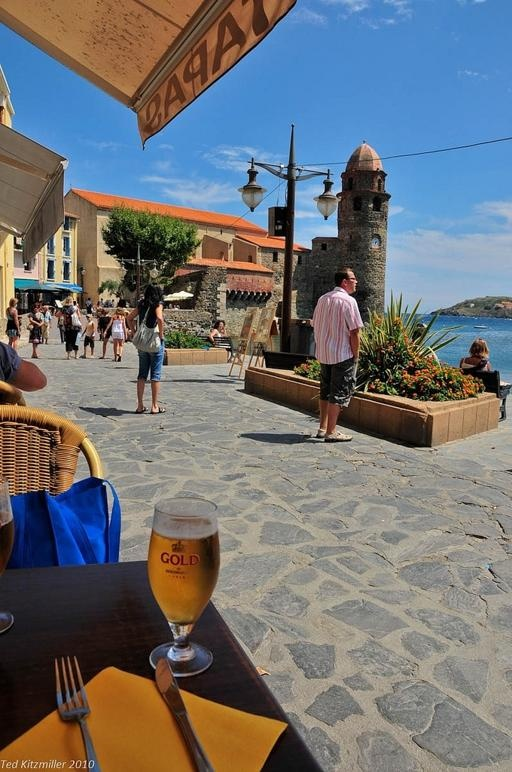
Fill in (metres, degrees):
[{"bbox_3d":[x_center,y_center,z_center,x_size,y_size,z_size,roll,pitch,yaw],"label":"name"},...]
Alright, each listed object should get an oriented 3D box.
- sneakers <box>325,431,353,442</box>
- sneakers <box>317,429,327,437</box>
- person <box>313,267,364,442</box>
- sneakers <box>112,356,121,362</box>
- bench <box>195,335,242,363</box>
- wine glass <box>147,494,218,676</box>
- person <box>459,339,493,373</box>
[{"bbox_3d":[0.956,0.609,6.459,0.246,0.115,0.140,-2,1,-7],"label":"sneakers"},{"bbox_3d":[0.800,0.579,6.682,0.076,0.080,0.185,-1,-6,8],"label":"sneakers"},{"bbox_3d":[0.931,-0.331,6.311,0.592,2.014,0.477,5,8,29],"label":"person"},{"bbox_3d":[-4.216,-0.829,16.564,0.127,0.186,0.423,2,9,-10],"label":"sneakers"},{"bbox_3d":[-1.136,-1.111,16.693,1.365,0.738,0.451,21,8,-33],"label":"bench"},{"bbox_3d":[-0.117,0.307,0.871,0.104,0.249,0.238,0,7,-10],"label":"wine glass"},{"bbox_3d":[3.509,-0.491,8.792,0.430,0.541,0.944,4,7,21],"label":"person"}]
